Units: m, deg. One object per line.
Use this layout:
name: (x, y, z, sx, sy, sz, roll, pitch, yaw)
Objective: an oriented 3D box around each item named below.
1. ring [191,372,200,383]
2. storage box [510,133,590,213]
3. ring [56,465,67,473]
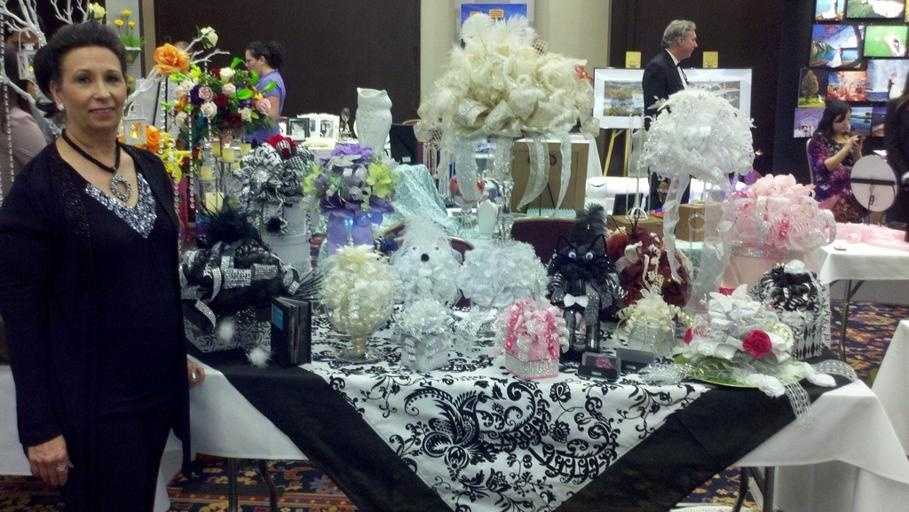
ring: (-1.212, 0.564, 3.297, 0.031, 0.041, 0.012, -14, -29, -18)
storage box: (0.584, -0.557, 4.825, 0.612, 0.574, 0.280, 0, 37, 2)
ring: (-1.709, 0.918, 3.087, 0.030, 0.017, 0.034, 0, 12, -28)
